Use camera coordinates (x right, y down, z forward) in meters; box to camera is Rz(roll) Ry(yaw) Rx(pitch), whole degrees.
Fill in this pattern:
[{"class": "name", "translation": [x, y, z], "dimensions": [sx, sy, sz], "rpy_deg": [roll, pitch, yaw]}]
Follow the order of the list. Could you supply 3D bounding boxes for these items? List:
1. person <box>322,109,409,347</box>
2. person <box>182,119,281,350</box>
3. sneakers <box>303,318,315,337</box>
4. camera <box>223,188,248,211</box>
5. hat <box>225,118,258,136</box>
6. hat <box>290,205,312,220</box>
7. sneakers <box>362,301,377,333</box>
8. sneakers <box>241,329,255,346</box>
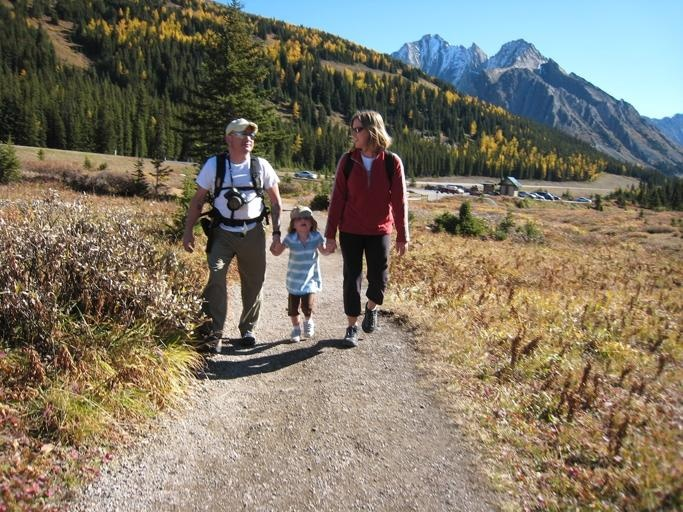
[{"class": "person", "translation": [0.344, -0.329, 7.272], "dimensions": [1.104, 3.198, 0.409], "rpy_deg": [3, 11, -2]}, {"class": "person", "translation": [-1.415, -0.276, 7.090], "dimensions": [1.250, 3.013, 0.746], "rpy_deg": [0, 12, -19]}, {"class": "sneakers", "translation": [-0.467, 1.032, 7.830], "dimensions": [0.100, 0.150, 0.334], "rpy_deg": [0, 12, -6]}, {"class": "camera", "translation": [-1.379, -0.725, 6.958], "dimensions": [0.274, 0.312, 0.186], "rpy_deg": [6, -16, -30]}, {"class": "hat", "translation": [-1.341, -1.739, 7.200], "dimensions": [0.371, 0.217, 0.746], "rpy_deg": [4, 14, -8]}, {"class": "hat", "translation": [-0.567, -0.614, 7.550], "dimensions": [0.293, 0.189, 0.322], "rpy_deg": [2, 13, -14]}, {"class": "sneakers", "translation": [0.443, 0.928, 7.939], "dimensions": [0.166, 0.494, 0.169], "rpy_deg": [2, -4, -16]}, {"class": "sneakers", "translation": [-1.270, 1.145, 7.318], "dimensions": [0.109, 0.146, 0.266], "rpy_deg": [4, -19, -17]}]
